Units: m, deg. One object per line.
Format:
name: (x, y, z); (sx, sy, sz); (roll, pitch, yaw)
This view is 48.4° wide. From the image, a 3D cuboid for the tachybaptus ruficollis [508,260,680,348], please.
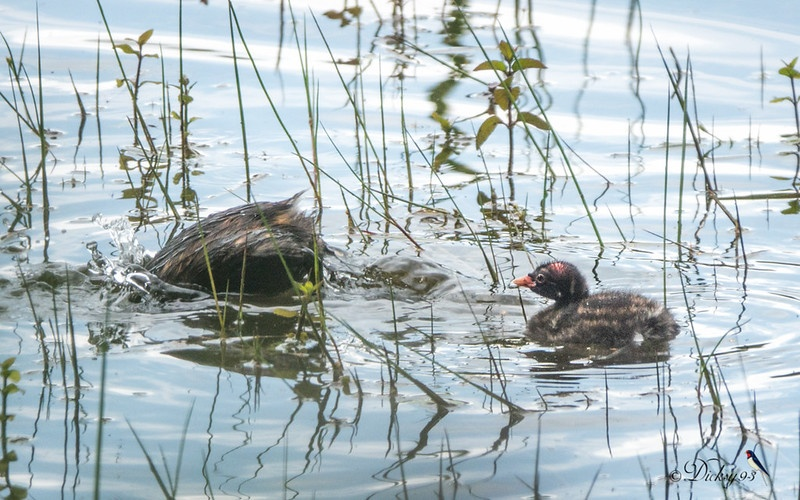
tachybaptus ruficollis: (1.828, 0.496, 8.376); (1.464, 0.837, 0.641); (-2, -7, 4)
